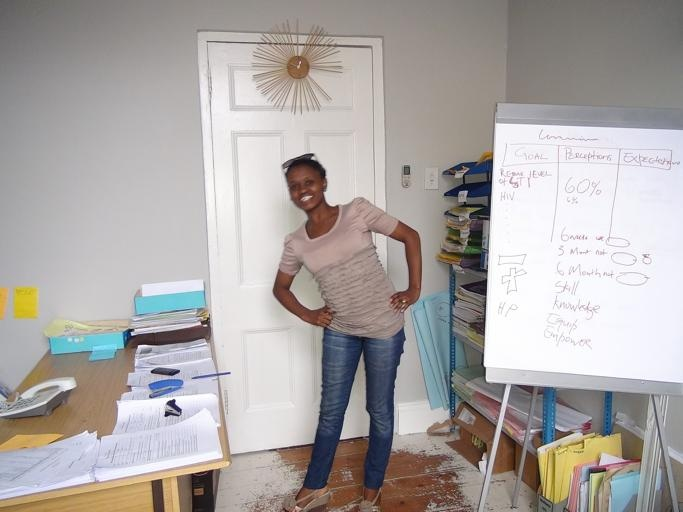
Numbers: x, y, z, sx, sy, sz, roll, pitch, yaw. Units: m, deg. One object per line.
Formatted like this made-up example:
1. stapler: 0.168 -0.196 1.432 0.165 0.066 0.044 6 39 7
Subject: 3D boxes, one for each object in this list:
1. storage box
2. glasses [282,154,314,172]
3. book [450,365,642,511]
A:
1. storage box: 0.925 0.920 2.696 0.361 0.298 0.698 0 8 -12
2. glasses: -0.205 -0.440 2.269 0.163 0.082 0.087 -3 9 -6
3. book: 0.944 0.980 2.738 0.539 0.219 0.746 0 7 -17
